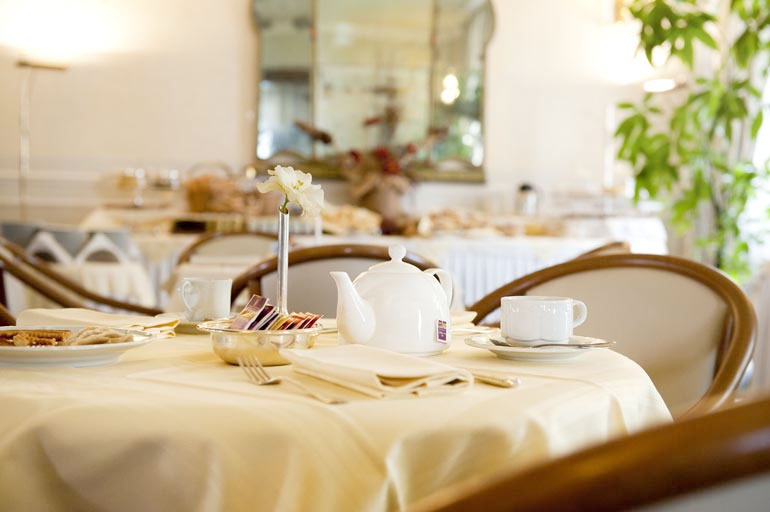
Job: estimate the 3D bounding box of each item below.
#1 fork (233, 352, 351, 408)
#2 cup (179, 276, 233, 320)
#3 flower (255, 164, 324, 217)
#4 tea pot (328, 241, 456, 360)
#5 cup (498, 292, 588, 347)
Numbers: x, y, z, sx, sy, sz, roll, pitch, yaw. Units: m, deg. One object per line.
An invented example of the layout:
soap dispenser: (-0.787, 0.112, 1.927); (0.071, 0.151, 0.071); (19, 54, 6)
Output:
fork: (-0.103, 0.142, 0.713); (0.018, 0.019, 0.128); (12, 2, -41)
cup: (-0.290, 0.070, 1.010); (0.088, 0.062, 0.056); (0, 1, -39)
flower: (-0.126, -0.075, 0.901); (0.084, 0.052, 0.081); (4, 32, -51)
tea pot: (0.017, 0.068, 0.857); (0.163, 0.112, 0.112); (10, -12, -44)
cup: (0.233, 0.091, 0.887); (0.096, 0.052, 0.071); (1, -6, -8)
